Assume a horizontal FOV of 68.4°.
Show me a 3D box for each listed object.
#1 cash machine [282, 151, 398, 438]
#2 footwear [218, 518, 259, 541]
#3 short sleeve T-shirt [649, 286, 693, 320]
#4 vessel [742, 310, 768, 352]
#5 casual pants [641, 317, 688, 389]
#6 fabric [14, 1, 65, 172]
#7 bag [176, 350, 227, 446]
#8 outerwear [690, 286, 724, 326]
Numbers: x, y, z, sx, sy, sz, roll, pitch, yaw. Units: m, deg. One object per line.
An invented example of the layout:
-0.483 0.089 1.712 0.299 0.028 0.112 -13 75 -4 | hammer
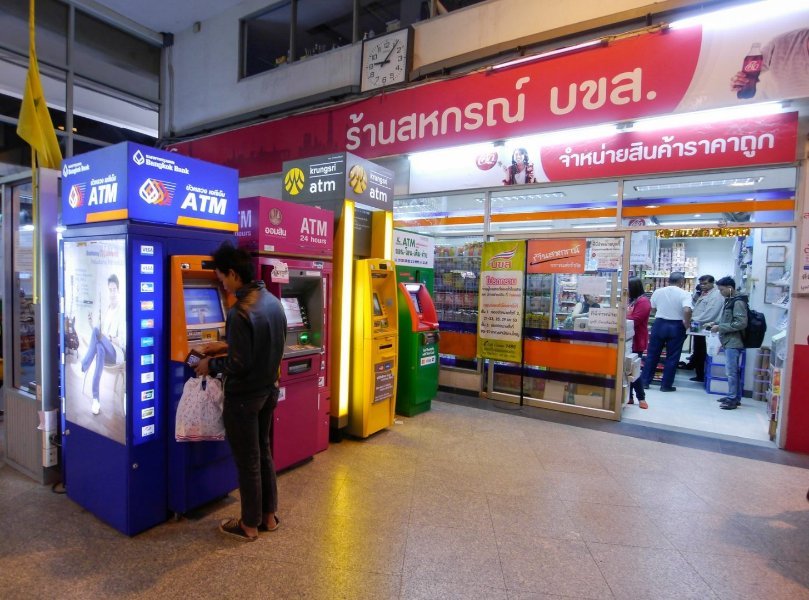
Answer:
-0.740 0.027 6.898 1.152 3.031 0.963 0 2 27 | cash machine
-1.417 1.940 5.084 0.324 0.132 0.142 20 -6 8 | footwear
3.812 -0.053 8.600 0.614 0.575 0.433 3 4 37 | short sleeve T-shirt
4.591 0.353 7.848 0.260 0.494 0.368 5 26 26 | vessel
3.757 0.744 8.625 0.443 1.081 0.327 11 15 32 | casual pants
-3.467 -2.036 5.557 0.375 1.558 0.318 7 11 35 | fabric
-1.668 0.814 5.000 0.391 0.710 0.199 3 12 7 | bag
4.558 0.136 9.064 0.449 0.663 0.646 5 -10 12 | outerwear
